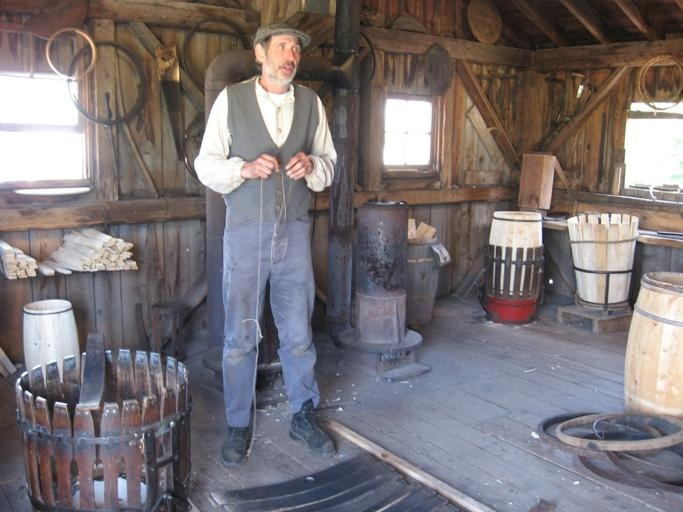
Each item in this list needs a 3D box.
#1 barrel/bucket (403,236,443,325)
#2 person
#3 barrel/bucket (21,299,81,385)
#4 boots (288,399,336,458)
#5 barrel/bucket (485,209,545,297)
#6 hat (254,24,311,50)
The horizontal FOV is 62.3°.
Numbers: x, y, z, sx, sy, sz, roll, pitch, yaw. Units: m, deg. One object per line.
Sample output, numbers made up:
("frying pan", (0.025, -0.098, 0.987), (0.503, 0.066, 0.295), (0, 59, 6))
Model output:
("barrel/bucket", (0.849, 0.295, 5.873), (0.368, 0.900, 0.140), (-4, 14, -20))
("person", (-0.464, -0.055, 3.636), (0.878, 2.730, 0.565), (-3, 14, -15))
("barrel/bucket", (-2.380, 0.597, 4.633), (0.330, 0.563, 0.350), (7, 27, -3))
("boots", (-0.204, 1.169, 3.851), (0.163, 0.308, 0.418), (-1, 6, -44))
("barrel/bucket", (2.007, 0.111, 6.425), (0.614, 1.091, 0.634), (-1, 13, 0))
("hat", (-0.371, -1.371, 3.497), (0.349, 0.122, 0.232), (-1, 13, -9))
